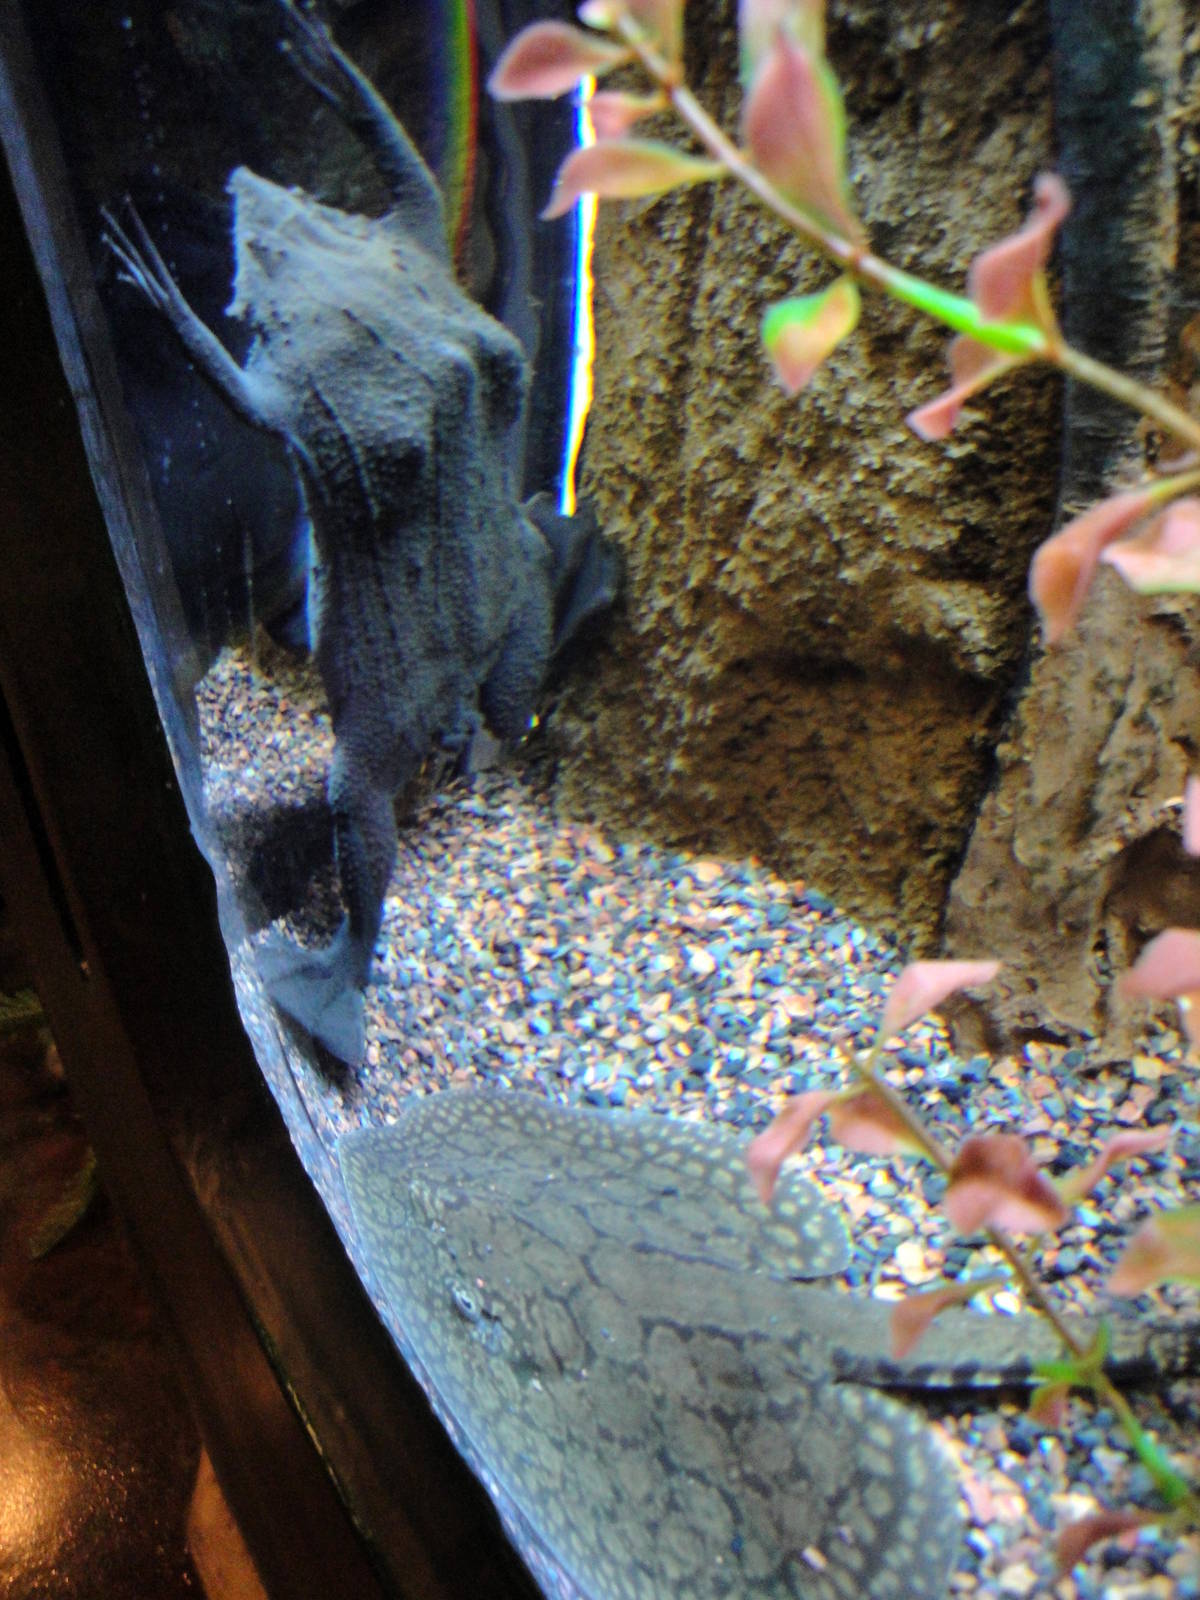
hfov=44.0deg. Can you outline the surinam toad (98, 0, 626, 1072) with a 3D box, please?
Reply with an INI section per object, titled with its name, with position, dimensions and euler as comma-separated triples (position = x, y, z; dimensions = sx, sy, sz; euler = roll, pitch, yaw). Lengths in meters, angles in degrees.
[surinam toad]
position = -0.136, -0.200, 0.921
dimensions = 0.352, 0.455, 0.151
euler = -34, 31, -10
